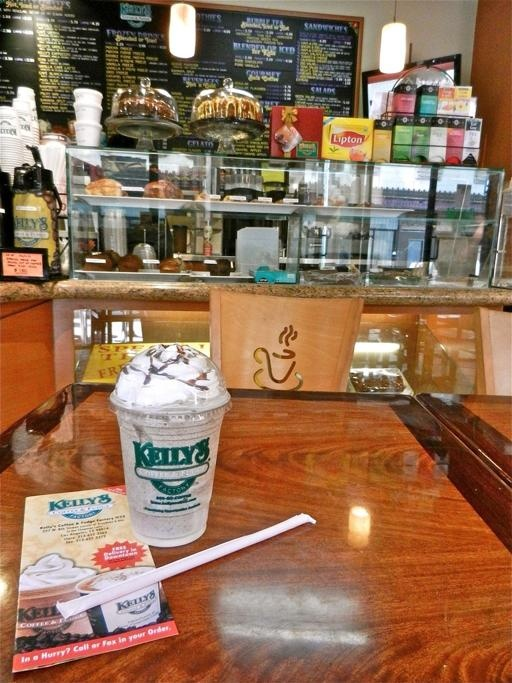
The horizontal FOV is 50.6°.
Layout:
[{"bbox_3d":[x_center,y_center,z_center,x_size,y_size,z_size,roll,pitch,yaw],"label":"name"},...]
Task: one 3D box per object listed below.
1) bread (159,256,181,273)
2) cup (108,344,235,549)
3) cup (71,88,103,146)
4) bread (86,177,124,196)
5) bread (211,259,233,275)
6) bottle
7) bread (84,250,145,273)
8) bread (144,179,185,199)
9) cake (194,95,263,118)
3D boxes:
[{"bbox_3d":[-0.275,-0.244,1.762,0.058,0.052,0.015,0,-26,-15],"label":"bread"},{"bbox_3d":[-0.067,0.084,0.537,0.153,0.204,0.145,0,7,0],"label":"cup"},{"bbox_3d":[-0.667,-0.880,2.150,0.105,0.230,0.213,-1,11,-18],"label":"cup"},{"bbox_3d":[-0.468,-0.475,1.677,0.110,0.058,0.030,-1,12,-19],"label":"bread"},{"bbox_3d":[-0.114,-0.242,1.821,0.063,0.044,0.054,0,-4,8],"label":"bread"},{"bbox_3d":[-0.645,-0.341,1.592,0.132,0.326,0.168,-2,12,-22],"label":"bottle"},{"bbox_3d":[-0.454,-0.248,1.722,0.127,0.049,0.076,-2,8,-30],"label":"bread"},{"bbox_3d":[-0.297,-0.477,1.720,0.096,0.052,0.033,-6,3,-20],"label":"bread"},{"bbox_3d":[-0.101,-0.823,1.905,0.137,0.054,0.129,-3,28,-10],"label":"cake"}]
